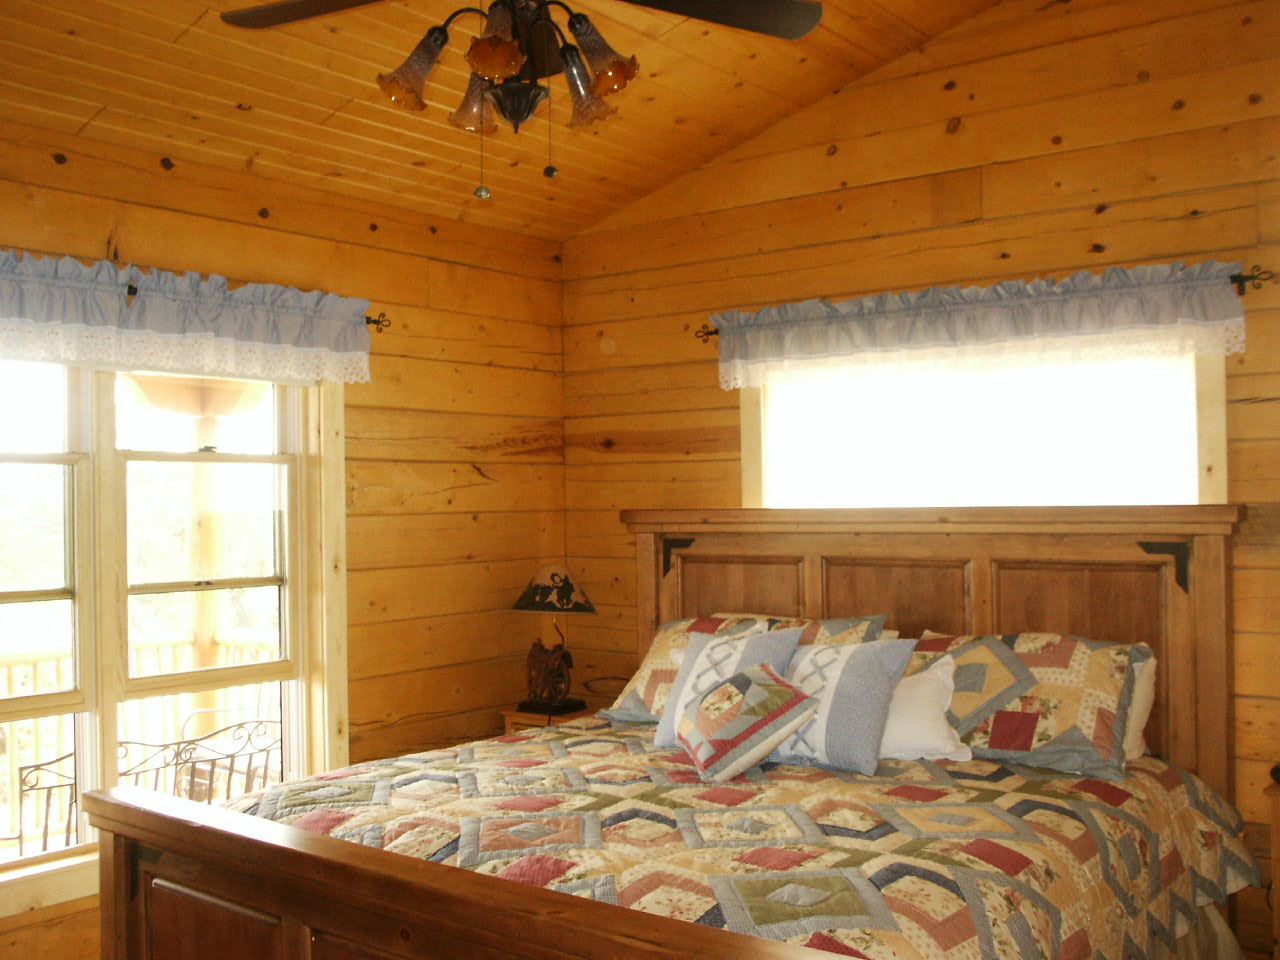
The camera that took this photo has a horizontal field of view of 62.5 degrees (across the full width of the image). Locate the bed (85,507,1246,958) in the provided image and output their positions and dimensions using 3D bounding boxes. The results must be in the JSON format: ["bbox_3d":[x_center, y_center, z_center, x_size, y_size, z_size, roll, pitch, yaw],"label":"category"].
[{"bbox_3d":[0.217,0.647,3.140,1.953,1.020,2.223,-2,-3,45],"label":"bed"}]

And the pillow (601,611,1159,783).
[{"bbox_3d":[0.799,0.697,3.510,1.633,0.403,0.737,1,3,21],"label":"pillow"}]
